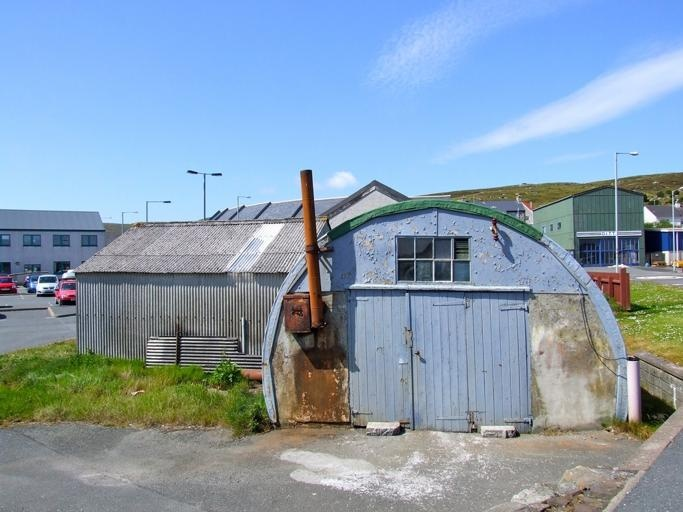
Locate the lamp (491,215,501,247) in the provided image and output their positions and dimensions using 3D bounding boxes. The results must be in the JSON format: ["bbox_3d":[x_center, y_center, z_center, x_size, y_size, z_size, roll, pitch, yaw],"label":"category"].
[{"bbox_3d":[3.254,-0.540,13.491,0.180,0.523,0.158,1,11,19],"label":"lamp"}]
